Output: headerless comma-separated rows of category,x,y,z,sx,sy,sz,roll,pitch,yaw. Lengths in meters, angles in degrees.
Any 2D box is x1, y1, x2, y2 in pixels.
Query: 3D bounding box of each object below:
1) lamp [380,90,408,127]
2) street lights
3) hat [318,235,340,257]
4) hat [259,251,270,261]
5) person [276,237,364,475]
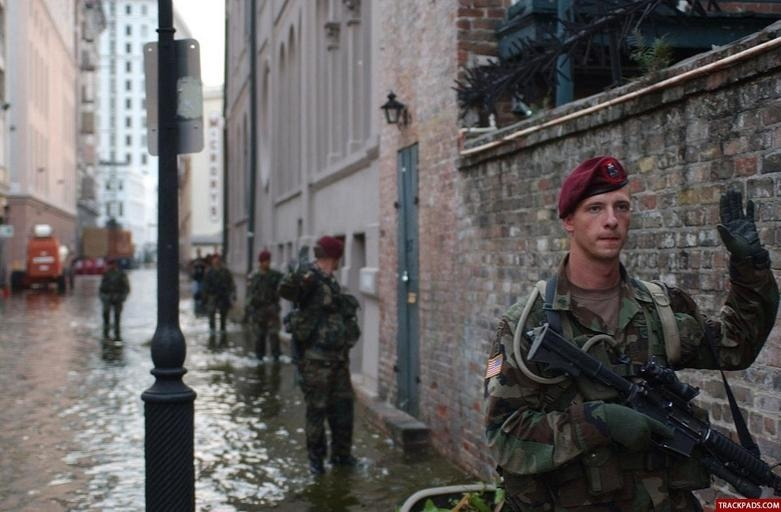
lamp,0.048,-1.874,11.874,0.335,0.413,0.419,1,4,-7
street lights,-2.025,-0.233,8.337,0.423,4.255,0.811,0,4,-21
hat,-0.677,-0.116,10.410,0.249,0.200,0.200,-1,14,-18
hat,-2.287,-0.028,16.610,0.153,0.158,0.203,-5,36,-9
person,-0.785,1.054,10.228,0.883,2.539,0.490,-1,5,-38
